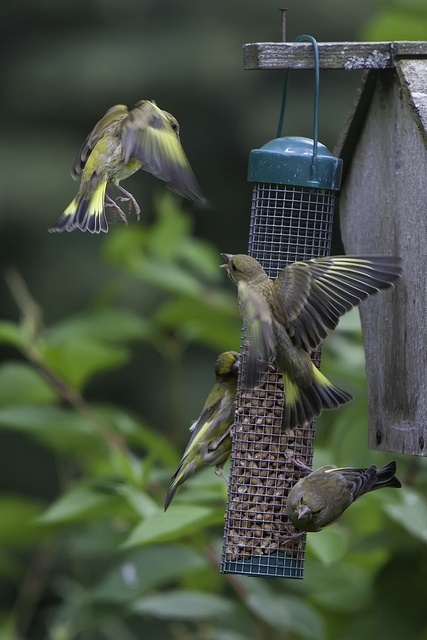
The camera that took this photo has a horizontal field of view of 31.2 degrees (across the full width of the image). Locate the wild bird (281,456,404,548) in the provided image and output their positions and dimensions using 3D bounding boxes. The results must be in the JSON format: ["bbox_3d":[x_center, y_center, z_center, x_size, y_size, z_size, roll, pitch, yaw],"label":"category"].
[{"bbox_3d":[0.371,0.487,2.212,0.386,0.168,0.174,-20,11,-22],"label":"wild bird"}]

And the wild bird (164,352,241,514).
[{"bbox_3d":[-0.024,0.347,2.431,0.189,0.401,0.433,3,18,8],"label":"wild bird"}]

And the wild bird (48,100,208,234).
[{"bbox_3d":[-0.283,-0.459,2.272,0.432,0.367,0.590,-3,18,-11],"label":"wild bird"}]
